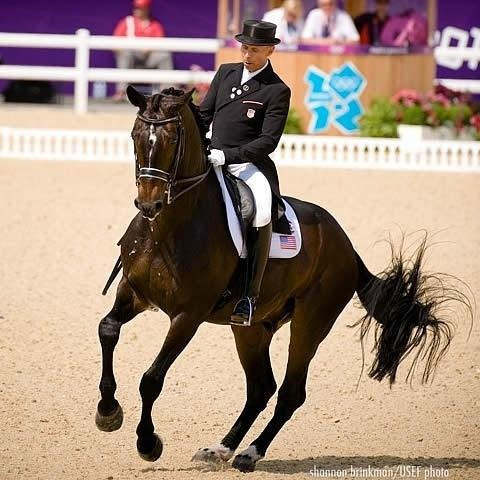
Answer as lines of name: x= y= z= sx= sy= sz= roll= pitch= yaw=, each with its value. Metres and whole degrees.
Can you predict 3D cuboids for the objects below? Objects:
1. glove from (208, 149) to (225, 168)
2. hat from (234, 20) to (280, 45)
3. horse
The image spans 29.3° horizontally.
glove: x=-0.156 y=-0.557 z=6.228 sx=0.112 sy=0.094 sz=0.104 roll=3 pitch=12 yaw=2
hat: x=0.138 y=-1.431 z=6.397 sx=0.277 sy=0.165 sz=0.229 roll=0 pitch=12 yaw=-14
horse: x=0.186 y=0.417 z=6.935 sx=0.896 sy=2.614 sz=3.626 roll=2 pitch=-5 yaw=40
